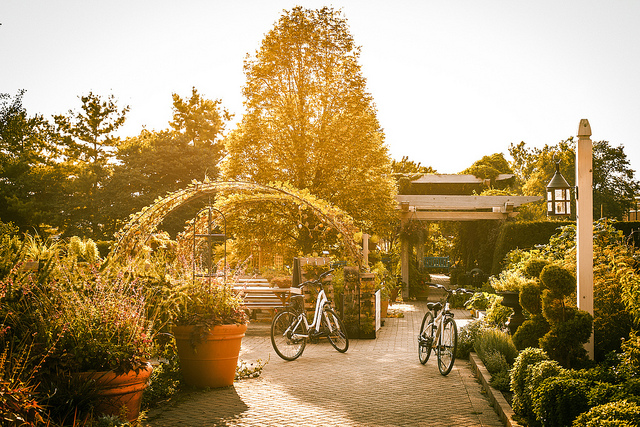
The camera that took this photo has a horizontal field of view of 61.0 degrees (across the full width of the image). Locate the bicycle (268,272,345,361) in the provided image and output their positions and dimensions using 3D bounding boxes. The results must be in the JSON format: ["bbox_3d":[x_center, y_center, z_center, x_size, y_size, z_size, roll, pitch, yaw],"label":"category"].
[{"bbox_3d":[-0.237,2.187,11.720,1.509,1.608,2.303,1,-6,-3],"label":"bicycle"}]

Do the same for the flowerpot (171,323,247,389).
[{"bbox_3d":[-1.927,2.372,9.093,1.345,1.081,1.342,3,-8,-29],"label":"flowerpot"}]

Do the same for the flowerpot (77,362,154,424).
[{"bbox_3d":[-2.528,2.297,7.009,0.706,0.517,0.709,6,-19,-26],"label":"flowerpot"}]
